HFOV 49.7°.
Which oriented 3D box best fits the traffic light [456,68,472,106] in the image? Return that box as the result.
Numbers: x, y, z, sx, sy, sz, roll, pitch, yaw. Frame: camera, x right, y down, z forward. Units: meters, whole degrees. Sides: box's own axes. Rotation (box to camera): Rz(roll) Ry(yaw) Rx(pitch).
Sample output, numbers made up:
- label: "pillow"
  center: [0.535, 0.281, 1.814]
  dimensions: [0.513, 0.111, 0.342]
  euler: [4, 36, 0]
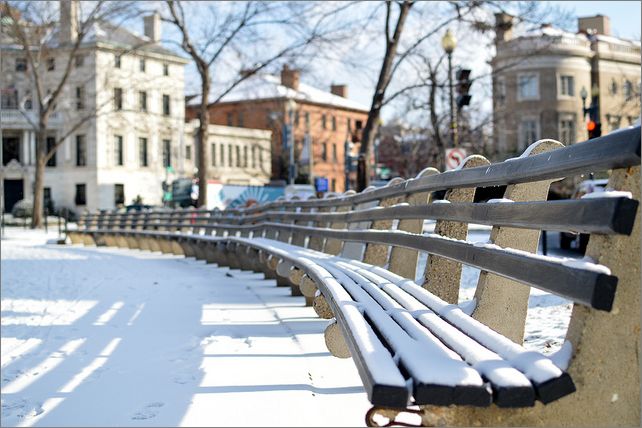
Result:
- label: "traffic light"
  center: [3.181, -2.807, 15.289]
  dimensions: [0.314, 0.811, 1.070]
  euler: [0, 6, 11]
